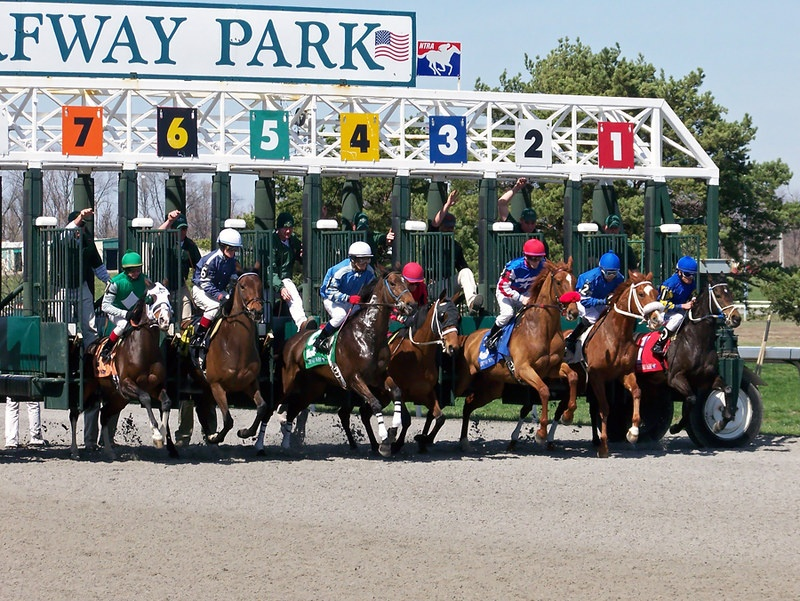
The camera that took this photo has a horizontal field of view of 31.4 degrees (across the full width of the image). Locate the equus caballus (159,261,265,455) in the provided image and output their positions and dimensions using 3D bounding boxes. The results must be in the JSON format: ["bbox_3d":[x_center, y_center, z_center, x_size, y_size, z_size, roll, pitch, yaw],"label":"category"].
[{"bbox_3d":[-2.190,0.720,17.806,0.817,2.343,3.178,2,-3,-22],"label":"equus caballus"}]

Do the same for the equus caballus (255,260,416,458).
[{"bbox_3d":[-0.784,0.834,17.749,0.675,2.400,3.027,2,-5,-37],"label":"equus caballus"}]

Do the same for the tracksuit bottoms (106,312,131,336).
[{"bbox_3d":[-3.405,0.256,17.175,0.185,0.278,0.710,-3,14,-16],"label":"tracksuit bottoms"}]

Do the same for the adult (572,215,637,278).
[{"bbox_3d":[2.761,-0.777,19.878,0.535,1.138,1.047,1,-9,-8],"label":"adult"}]

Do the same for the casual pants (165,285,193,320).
[{"bbox_3d":[-2.804,0.001,18.673,0.333,0.493,0.170,-1,3,-44],"label":"casual pants"}]

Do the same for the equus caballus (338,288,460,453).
[{"bbox_3d":[0.023,1.023,17.890,0.618,1.900,2.578,8,-12,-29],"label":"equus caballus"}]

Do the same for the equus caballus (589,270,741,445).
[{"bbox_3d":[3.533,0.748,18.501,0.677,2.038,2.712,0,-8,-22],"label":"equus caballus"}]

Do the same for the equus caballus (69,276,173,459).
[{"bbox_3d":[-3.350,0.896,17.195,1.486,2.240,0.849,11,16,37],"label":"equus caballus"}]

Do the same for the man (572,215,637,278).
[{"bbox_3d":[2.805,-0.775,19.831,0.535,1.138,1.047,1,-9,-8],"label":"man"}]

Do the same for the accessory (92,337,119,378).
[{"bbox_3d":[-3.505,0.664,17.059,0.107,0.447,0.221,9,3,-34],"label":"accessory"}]

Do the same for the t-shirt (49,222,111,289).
[{"bbox_3d":[-3.982,-0.541,17.480,0.518,0.854,0.237,5,16,-1],"label":"t-shirt"}]

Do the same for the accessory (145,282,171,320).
[{"bbox_3d":[-2.821,-0.028,16.785,0.270,0.394,0.304,-2,13,-11],"label":"accessory"}]

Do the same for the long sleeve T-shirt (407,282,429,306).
[{"bbox_3d":[0.243,-0.116,17.464,0.241,0.274,0.096,-11,1,-32],"label":"long sleeve T-shirt"}]

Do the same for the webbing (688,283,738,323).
[{"bbox_3d":[3.987,0.026,17.717,0.733,0.532,0.355,13,18,42],"label":"webbing"}]

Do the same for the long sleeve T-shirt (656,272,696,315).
[{"bbox_3d":[3.523,-0.101,18.016,0.207,0.194,0.543,-32,-29,-24],"label":"long sleeve T-shirt"}]

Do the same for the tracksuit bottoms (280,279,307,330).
[{"bbox_3d":[-1.321,0.006,18.385,0.227,0.796,0.347,-19,-10,11],"label":"tracksuit bottoms"}]

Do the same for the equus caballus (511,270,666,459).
[{"bbox_3d":[2.525,0.909,18.243,0.682,2.176,2.981,2,-7,-19],"label":"equus caballus"}]

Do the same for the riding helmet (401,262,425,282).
[{"bbox_3d":[0.173,-0.359,17.325,0.177,0.207,0.246,7,-14,-15],"label":"riding helmet"}]

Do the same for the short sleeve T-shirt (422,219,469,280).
[{"bbox_3d":[0.689,-0.764,19.454,0.495,0.855,0.258,4,9,2],"label":"short sleeve T-shirt"}]

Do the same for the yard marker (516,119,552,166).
[{"bbox_3d":[2.093,-2.495,22.311,0.637,0.847,0.092,0,-3,-12],"label":"yard marker"}]

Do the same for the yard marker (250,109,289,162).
[{"bbox_3d":[-1.953,-2.528,21.506,0.606,0.734,0.280,-2,13,-10],"label":"yard marker"}]

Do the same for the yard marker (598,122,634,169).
[{"bbox_3d":[3.383,-2.458,22.335,0.631,0.813,0.152,0,3,-10],"label":"yard marker"}]

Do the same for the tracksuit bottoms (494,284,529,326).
[{"bbox_3d":[1.370,0.054,17.675,0.365,0.410,0.131,14,4,40],"label":"tracksuit bottoms"}]

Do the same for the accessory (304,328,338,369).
[{"bbox_3d":[-0.954,0.563,17.416,0.424,0.459,0.127,-1,-7,43],"label":"accessory"}]
